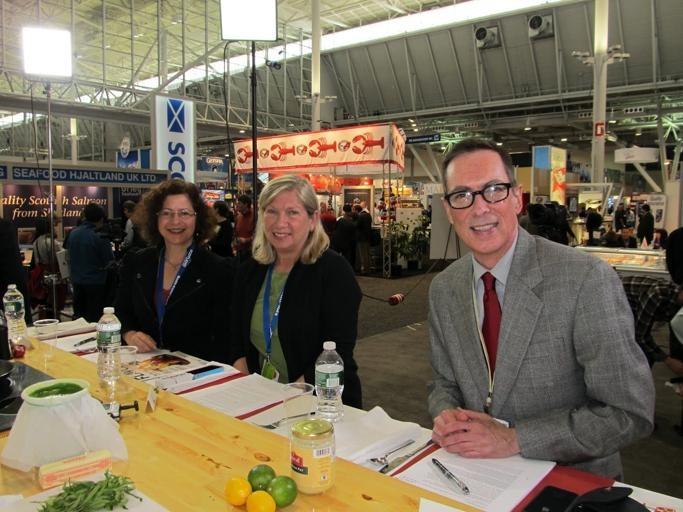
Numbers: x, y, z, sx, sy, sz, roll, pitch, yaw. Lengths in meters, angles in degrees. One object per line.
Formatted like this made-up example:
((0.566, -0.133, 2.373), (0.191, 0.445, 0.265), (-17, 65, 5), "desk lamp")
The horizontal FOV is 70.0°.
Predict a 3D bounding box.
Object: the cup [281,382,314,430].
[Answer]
((-0.154, 0.535, 1.752), (0.139, 0.132, 0.135), (1, -8, 0), "cup")

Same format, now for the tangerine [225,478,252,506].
((-0.278, 0.620, 1.283), (0.089, 0.065, 0.041), (-4, 8, 14), "tangerine")

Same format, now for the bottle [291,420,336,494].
((-0.080, 0.569, 1.373), (0.126, 0.160, 0.118), (-1, -5, 0), "bottle")

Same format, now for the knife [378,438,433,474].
((0.239, 0.632, 1.643), (0.052, 0.022, 0.463), (6, 4, 30), "knife")

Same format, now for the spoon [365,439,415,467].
((0.175, 0.642, 1.659), (0.048, 0.042, 0.271), (11, 4, 36), "spoon")

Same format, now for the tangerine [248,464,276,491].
((-0.210, 0.587, 1.303), (0.061, 0.054, 0.069), (10, -9, -4), "tangerine")
